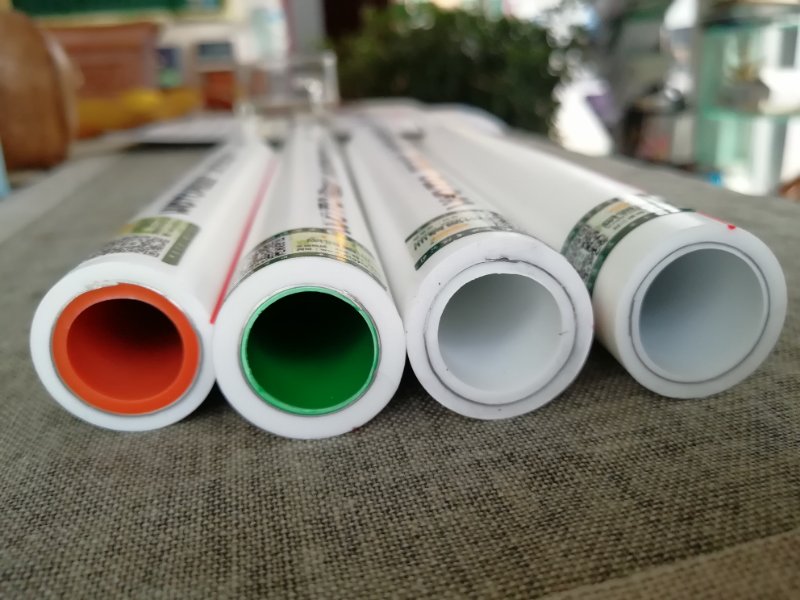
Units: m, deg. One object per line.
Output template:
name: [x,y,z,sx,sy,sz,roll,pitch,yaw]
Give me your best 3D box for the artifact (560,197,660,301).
artifact: [0.204,-0.063,0.662,0.087,0.106,0.101,5,16,-2]
